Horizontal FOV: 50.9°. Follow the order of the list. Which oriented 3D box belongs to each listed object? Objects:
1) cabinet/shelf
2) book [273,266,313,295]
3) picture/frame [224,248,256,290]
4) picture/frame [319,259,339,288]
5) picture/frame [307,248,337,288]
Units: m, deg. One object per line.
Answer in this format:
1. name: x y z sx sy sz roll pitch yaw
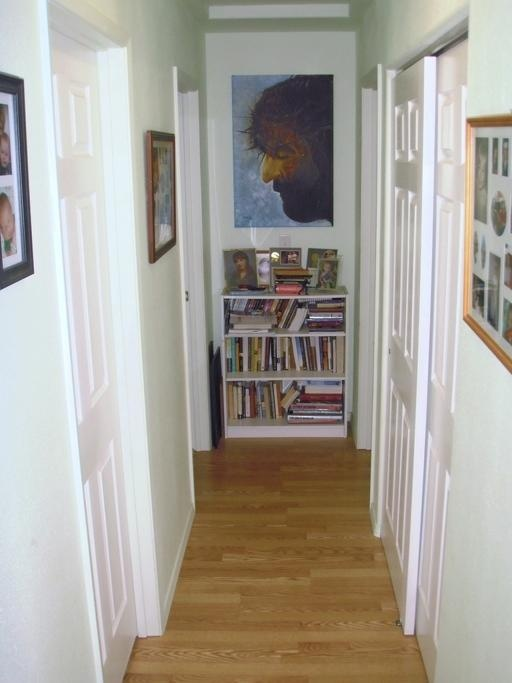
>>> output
1. cabinet/shelf: 0.216 0.158 3.934 0.620 1.121 0.296 0 9 1
2. book: 0.259 -0.444 3.898 0.285 0.167 0.273 0 13 6
3. picture/frame: -0.109 -0.529 3.915 0.183 0.343 0.037 -1 9 8
4. picture/frame: 0.529 -0.489 3.887 0.128 0.271 0.023 3 2 20
5. picture/frame: 0.485 -0.543 3.921 0.188 0.359 0.098 1 3 14
